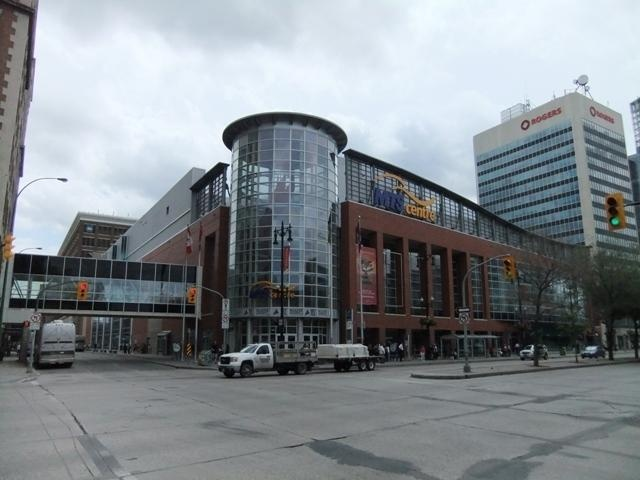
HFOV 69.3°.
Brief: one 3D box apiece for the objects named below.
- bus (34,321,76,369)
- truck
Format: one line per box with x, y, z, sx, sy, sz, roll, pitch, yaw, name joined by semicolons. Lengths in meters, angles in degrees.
-23.166;8.923;40.198;2.752;3.197;4.925;5;-11;-31;bus
-3.970;8.005;32.441;5.972;2.068;2.882;14;-23;-36;truck
